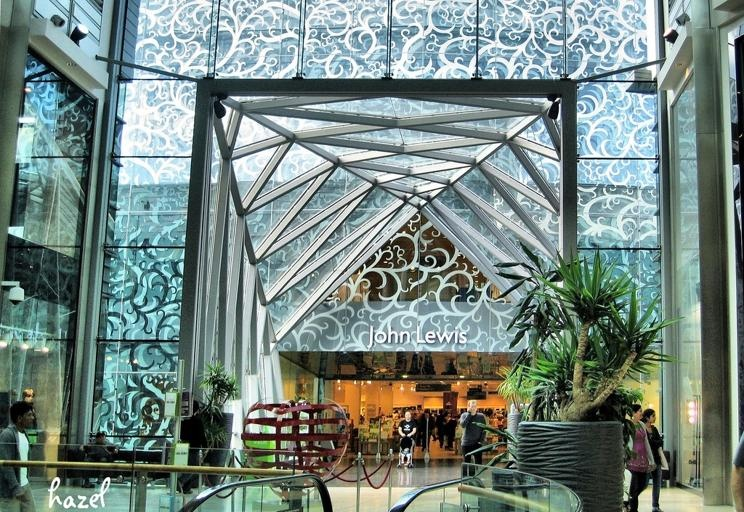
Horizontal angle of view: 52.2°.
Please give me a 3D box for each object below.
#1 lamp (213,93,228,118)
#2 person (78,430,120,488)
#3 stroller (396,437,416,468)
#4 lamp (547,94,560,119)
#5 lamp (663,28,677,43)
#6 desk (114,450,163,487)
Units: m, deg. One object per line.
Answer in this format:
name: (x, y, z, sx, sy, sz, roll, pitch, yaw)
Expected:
lamp: (-3.187, -3.146, 15.972, 0.251, 0.347, 0.618, 3, -15, -11)
person: (-3.798, 2.842, 10.847, 0.329, 0.824, 0.384, -2, 9, 17)
stroller: (1.024, 5.793, 22.480, 0.449, 0.874, 0.515, -3, 4, -1)
lamp: (3.788, -3.163, 15.889, 0.241, 0.420, 0.781, -3, -15, 11)
lamp: (6.681, -4.998, 17.031, 0.252, 0.233, 0.284, 7, -21, -20)
desk: (-3.663, 3.249, 11.917, 0.733, 0.460, 3.491, 4, -15, -18)
